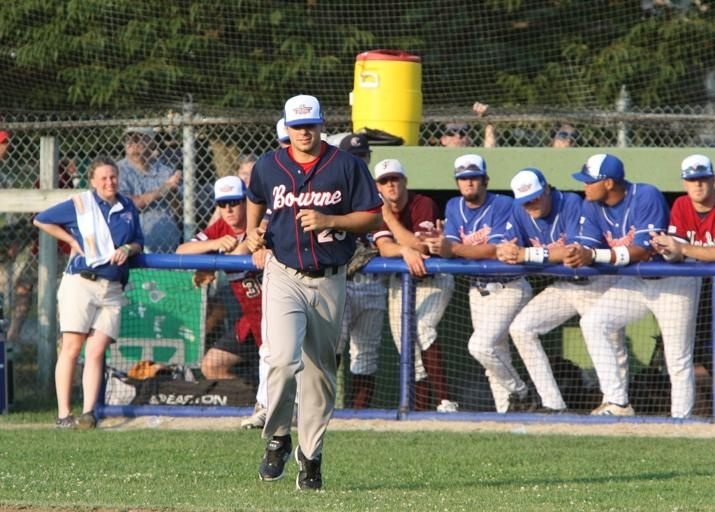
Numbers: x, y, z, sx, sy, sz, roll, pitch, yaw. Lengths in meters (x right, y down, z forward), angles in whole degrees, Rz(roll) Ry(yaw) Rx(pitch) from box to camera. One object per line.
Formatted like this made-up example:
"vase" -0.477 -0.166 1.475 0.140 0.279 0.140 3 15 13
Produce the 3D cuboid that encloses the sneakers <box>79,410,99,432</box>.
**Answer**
"sneakers" -2.654 1.627 17.357 0.177 0.186 0.127 4 -37 -3

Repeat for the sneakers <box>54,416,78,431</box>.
"sneakers" -2.868 1.634 17.355 0.251 0.118 0.092 -3 -12 21

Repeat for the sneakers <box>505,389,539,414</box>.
"sneakers" 1.633 1.455 17.636 0.325 0.200 0.118 0 2 9

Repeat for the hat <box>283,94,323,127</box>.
"hat" -0.491 -1.288 15.628 0.329 0.270 0.147 -1 2 -2

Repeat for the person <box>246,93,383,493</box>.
"person" -0.445 0.319 15.741 1.117 3.482 0.548 -1 2 1

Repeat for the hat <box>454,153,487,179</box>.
"hat" 1.114 -0.892 17.579 0.308 0.237 0.216 -1 2 2

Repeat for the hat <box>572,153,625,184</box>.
"hat" 2.349 -0.864 17.340 0.388 0.220 0.296 0 10 9

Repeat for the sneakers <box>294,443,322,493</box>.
"sneakers" -0.444 1.897 15.659 0.157 0.465 0.177 1 -11 -20

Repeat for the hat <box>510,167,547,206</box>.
"hat" 1.695 -0.733 17.497 0.257 0.220 0.379 -15 24 31

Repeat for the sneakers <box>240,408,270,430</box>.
"sneakers" -1.008 1.602 17.287 0.377 0.193 0.139 -3 -9 24

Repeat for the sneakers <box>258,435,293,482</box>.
"sneakers" -0.744 1.810 15.724 0.181 0.521 0.201 13 -31 11

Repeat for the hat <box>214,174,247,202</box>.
"hat" -1.284 -0.670 17.646 0.310 0.251 0.179 -1 2 -4

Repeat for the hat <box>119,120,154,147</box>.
"hat" -2.455 -1.376 19.645 0.260 0.366 0.544 0 3 -11
